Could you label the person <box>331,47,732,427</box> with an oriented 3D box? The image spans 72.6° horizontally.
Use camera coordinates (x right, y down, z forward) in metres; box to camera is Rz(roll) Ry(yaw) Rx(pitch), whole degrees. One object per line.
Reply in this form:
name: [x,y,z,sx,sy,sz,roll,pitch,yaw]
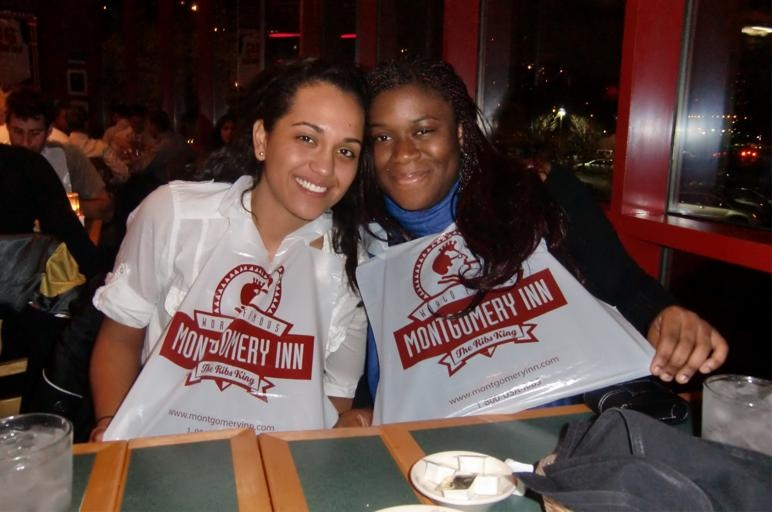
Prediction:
person: [0.383,-0.068,2.146,1.067,1.163,1.375,-4,50,4]
